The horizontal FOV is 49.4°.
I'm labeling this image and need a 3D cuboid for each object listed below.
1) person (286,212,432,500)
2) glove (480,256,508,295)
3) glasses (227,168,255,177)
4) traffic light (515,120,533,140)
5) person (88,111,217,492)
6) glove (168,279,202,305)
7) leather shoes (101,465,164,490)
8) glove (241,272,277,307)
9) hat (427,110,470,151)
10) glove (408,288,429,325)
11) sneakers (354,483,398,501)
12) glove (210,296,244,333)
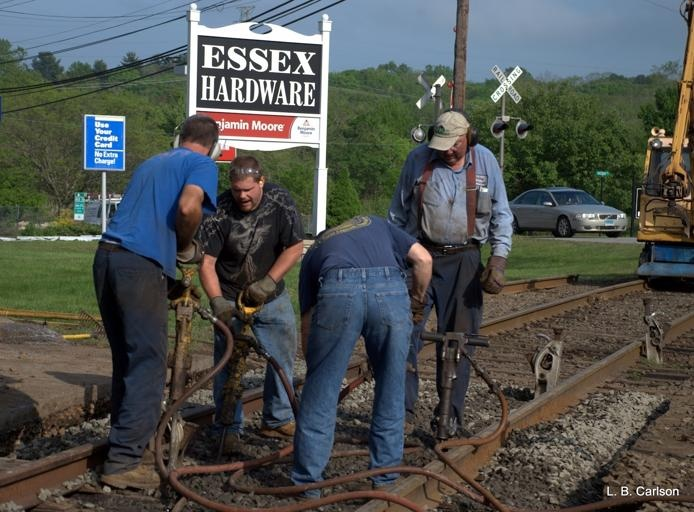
[{"bbox_3d":[0.094,0.656,5.320,0.880,1.883,0.441,2,3,0],"label":"person"},{"bbox_3d":[1.271,0.165,6.443,0.237,0.312,0.125,2,1,-34],"label":"glove"},{"bbox_3d":[-0.802,-0.665,5.941,0.195,0.075,0.064,2,4,-5],"label":"glasses"},{"bbox_3d":[5.447,-3.991,23.375,0.391,0.542,0.950,3,4,13],"label":"traffic light"},{"bbox_3d":[-1.415,0.437,5.533,0.854,2.498,0.483,1,4,-18],"label":"person"},{"bbox_3d":[-1.239,0.277,5.743,0.198,0.177,0.337,2,-3,-13],"label":"glove"},{"bbox_3d":[-1.529,1.615,5.421,0.415,0.236,0.166,0,4,-21],"label":"leather shoes"},{"bbox_3d":[-0.679,0.276,6.036,0.223,0.269,0.113,47,6,10],"label":"glove"},{"bbox_3d":[0.863,-1.098,6.397,0.303,0.209,0.489,10,45,29],"label":"hat"},{"bbox_3d":[0.562,0.399,5.951,0.156,0.196,0.196,39,11,-8],"label":"glove"},{"bbox_3d":[0.220,1.622,5.175,0.123,0.156,0.364,-5,-13,36],"label":"sneakers"},{"bbox_3d":[-0.907,0.438,5.940,0.242,0.130,0.356,-9,40,16],"label":"glove"}]
